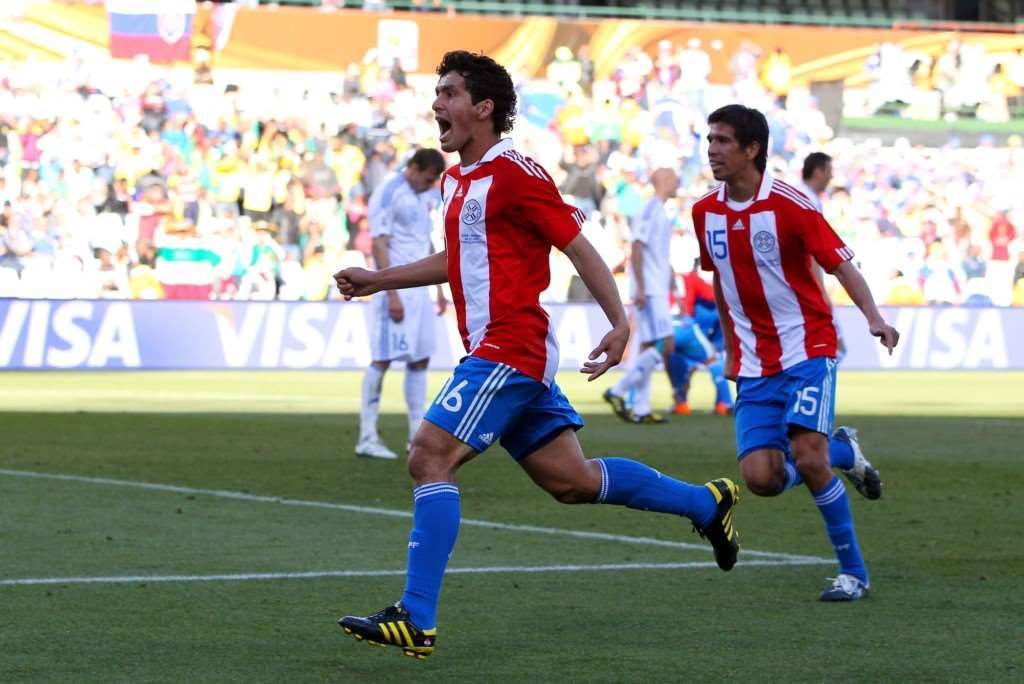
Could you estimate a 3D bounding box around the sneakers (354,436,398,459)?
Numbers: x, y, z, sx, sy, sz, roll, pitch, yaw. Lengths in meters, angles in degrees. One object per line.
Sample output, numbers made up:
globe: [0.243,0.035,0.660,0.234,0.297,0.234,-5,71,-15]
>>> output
sneakers: [-1.235,0.940,13.002,0.474,0.193,0.147,-1,-4,6]

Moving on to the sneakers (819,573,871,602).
sneakers: [2.145,1.571,9.408,0.310,0.114,0.156,0,-4,-2]
